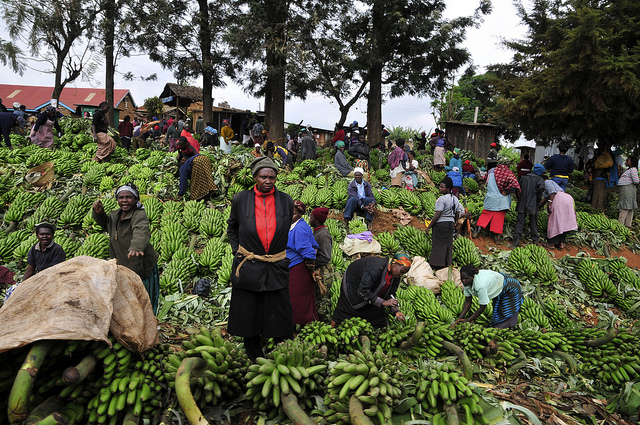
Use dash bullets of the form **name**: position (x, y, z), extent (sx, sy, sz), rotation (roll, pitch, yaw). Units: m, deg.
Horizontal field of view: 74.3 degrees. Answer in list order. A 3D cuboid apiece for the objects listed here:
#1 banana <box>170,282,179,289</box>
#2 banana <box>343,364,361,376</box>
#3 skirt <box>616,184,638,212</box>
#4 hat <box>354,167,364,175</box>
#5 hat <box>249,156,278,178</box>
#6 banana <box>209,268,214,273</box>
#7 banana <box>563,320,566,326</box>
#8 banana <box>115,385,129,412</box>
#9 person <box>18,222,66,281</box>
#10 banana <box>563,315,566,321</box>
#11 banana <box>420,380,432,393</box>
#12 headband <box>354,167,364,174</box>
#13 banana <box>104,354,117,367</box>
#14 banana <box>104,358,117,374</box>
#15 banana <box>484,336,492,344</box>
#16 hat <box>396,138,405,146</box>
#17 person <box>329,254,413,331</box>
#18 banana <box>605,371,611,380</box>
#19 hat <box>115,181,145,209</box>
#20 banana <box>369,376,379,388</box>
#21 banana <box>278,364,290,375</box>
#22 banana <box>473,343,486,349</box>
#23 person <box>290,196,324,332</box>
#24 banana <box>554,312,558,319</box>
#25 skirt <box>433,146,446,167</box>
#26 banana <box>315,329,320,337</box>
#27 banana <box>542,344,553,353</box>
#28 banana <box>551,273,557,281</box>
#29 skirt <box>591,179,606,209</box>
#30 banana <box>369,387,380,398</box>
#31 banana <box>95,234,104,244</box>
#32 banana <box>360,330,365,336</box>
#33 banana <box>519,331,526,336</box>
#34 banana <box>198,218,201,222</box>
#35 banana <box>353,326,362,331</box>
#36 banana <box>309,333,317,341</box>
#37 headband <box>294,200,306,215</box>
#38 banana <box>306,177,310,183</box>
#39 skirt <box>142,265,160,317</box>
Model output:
- **banana**: position (-2.965, 1.502, 8.641), extent (0.164, 0.042, 0.032), rotation (-42, 25, -26)
- **banana**: position (0.423, 2.101, 5.626), extent (0.188, 0.110, 0.053), rotation (12, 10, 3)
- **skirt**: position (8.996, -0.419, 12.358), extent (0.520, 0.809, 0.402), rotation (9, 8, 33)
- **hat**: position (1.004, -1.050, 10.768), extent (0.191, 0.143, 0.196), rotation (1, 3, 6)
- **hat**: position (-0.852, -0.703, 6.369), extent (0.281, 0.343, 0.176), rotation (-15, 4, -4)
- **banana**: position (-2.329, 1.273, 9.151), extent (0.081, 0.073, 0.023), rotation (3, 7, -12)
- **banana**: position (4.872, 2.186, 8.400), extent (0.053, 0.075, 0.031), rotation (9, 8, 33)
- **banana**: position (-2.498, 2.361, 5.368), extent (0.104, 0.256, 0.190), rotation (7, 8, 19)
- **person**: position (-4.824, 0.676, 7.366), extent (0.537, 0.988, 0.388), rotation (6, 7, 12)
- **banana**: position (4.884, 2.112, 8.435), extent (0.072, 0.072, 0.024), rotation (0, -12, -10)
- **banana**: position (1.423, 2.337, 5.672), extent (0.141, 0.128, 0.111), rotation (6, 7, 11)
- **headband**: position (1.006, -1.055, 10.759), extent (0.180, 0.135, 0.186), rotation (-1, 1, 11)
- **banana**: position (-2.674, 1.877, 5.386), extent (0.118, 0.060, 0.186), rotation (-37, 8, 39)
- **banana**: position (-2.671, 1.974, 5.396), extent (0.062, 0.231, 0.077), rotation (46, -6, -5)
- **banana**: position (2.965, 2.248, 7.425), extent (0.162, 0.056, 0.053), rotation (35, -16, 20)
- **hat**: position (2.317, -2.023, 12.121), extent (0.139, 0.172, 0.180), rotation (3, 12, 9)
- **person**: position (0.909, 1.471, 7.454), extent (1.013, 1.409, 0.708), rotation (28, 24, 22)
- **banana**: position (4.872, 2.759, 7.152), extent (0.056, 0.101, 0.109), rotation (2, 8, -18)
- **hat**: position (-3.170, -0.305, 7.131), extent (0.469, 0.335, 0.589), rotation (-5, 4, -2)
- **banana**: position (0.707, 2.207, 5.492), extent (0.114, 0.090, 0.063), rotation (-33, 3, -9)
- **banana**: position (-0.485, 2.115, 5.680), extent (0.154, 0.102, 0.099), rotation (9, 8, 29)
- **banana**: position (2.819, 2.363, 7.449), extent (0.207, 0.057, 0.074), rotation (24, 30, 12)
- **person**: position (-0.207, 0.985, 7.597), extent (0.653, 2.206, 1.132), rotation (4, 7, -1)
- **banana**: position (4.763, 2.080, 8.509), extent (0.061, 0.024, 0.103), rotation (-1, 46, -9)
- **skirt**: position (4.426, -2.044, 15.572), extent (0.383, 0.735, 0.330), rotation (7, 8, 23)
- **banana**: position (-0.040, 2.010, 7.037), extent (0.060, 0.086, 0.030), rotation (-8, -8, -15)
- **banana**: position (4.044, 2.413, 7.509), extent (0.194, 0.051, 0.058), rotation (52, 11, 22)
- **banana**: position (5.411, 1.482, 9.734), extent (0.134, 0.141, 0.046), rotation (0, 8, -31)
- **skirt**: position (8.840, -0.560, 13.351), extent (0.353, 0.926, 0.191), rotation (9, 8, 35)
- **banana**: position (0.702, 2.323, 5.434), extent (0.130, 0.123, 0.135), rotation (7, 8, 15)
- **banana**: position (-5.053, 0.604, 9.727), extent (0.069, 0.058, 0.256), rotation (-20, 23, 33)
- **banana**: position (0.717, 2.007, 7.040), extent (0.078, 0.079, 0.018), rotation (-1, -4, -16)
- **banana**: position (3.688, 2.205, 7.683), extent (0.048, 0.027, 0.059), rotation (17, 54, 41)
- **banana**: position (-2.957, 0.194, 10.391), extent (0.082, 0.085, 0.022), rotation (-1, -6, -33)
- **banana**: position (0.631, 1.937, 7.038), extent (0.113, 0.078, 0.035), rotation (12, 25, 11)
- **banana**: position (-0.118, 2.054, 6.995), extent (0.079, 0.100, 0.046), rotation (8, -18, 5)
- **headband**: position (-0.378, -0.084, 7.978), extent (0.176, 0.226, 0.481), rotation (5, 8, 1)
- **banana**: position (-0.354, -0.949, 12.290), extent (0.035, 0.047, 0.204), rotation (-23, 36, -18)
- **skirt**: position (-2.799, 1.329, 7.046), extent (0.162, 0.912, 0.468), rotation (5, 7, 4)
